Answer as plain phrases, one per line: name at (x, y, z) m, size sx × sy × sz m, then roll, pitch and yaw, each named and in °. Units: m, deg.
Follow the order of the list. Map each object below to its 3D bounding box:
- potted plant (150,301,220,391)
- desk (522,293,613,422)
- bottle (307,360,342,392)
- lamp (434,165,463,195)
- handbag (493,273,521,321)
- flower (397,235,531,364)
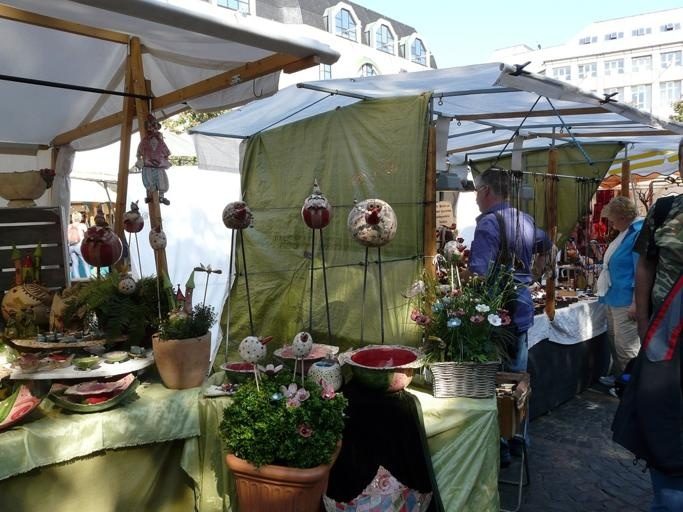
potted plant at (-1.050, 0.579, 3.595) m, size 0.435 × 0.578 × 0.442 m, roll 0°, pitch 0°, yaw -45°
desk at (2.206, 1.031, 5.521) m, size 0.942 × 0.669 × 1.234 m, roll 0°, pitch 4°, yaw 41°
bottle at (-0.100, 0.720, 3.265) m, size 0.158 × 0.179 × 0.177 m, roll 1°, pitch -1°, yaw -8°
lamp at (0.797, -0.561, 3.958) m, size 0.162 × 0.156 × 0.364 m, roll 2°, pitch 6°, yaw 18°
handbag at (1.151, 0.255, 3.753) m, size 0.314 × 0.088 × 0.326 m, roll 44°, pitch -13°, yaw 29°
flower at (0.808, 0.212, 3.550) m, size 0.724 × 0.612 × 0.776 m, roll 2°, pitch 5°, yaw 30°
